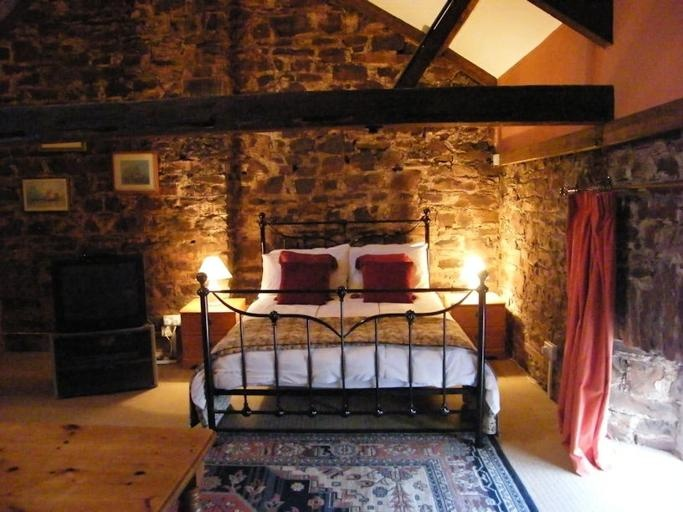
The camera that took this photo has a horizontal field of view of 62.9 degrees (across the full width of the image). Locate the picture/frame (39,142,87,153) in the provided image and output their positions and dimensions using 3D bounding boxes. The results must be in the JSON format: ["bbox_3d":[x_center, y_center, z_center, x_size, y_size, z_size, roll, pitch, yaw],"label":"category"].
[{"bbox_3d":[-2.735,-1.083,5.537,0.349,0.062,0.199,1,4,1],"label":"picture/frame"}]

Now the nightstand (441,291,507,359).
[{"bbox_3d":[1.345,0.698,5.785,0.682,0.590,0.669,0,2,-4],"label":"nightstand"}]

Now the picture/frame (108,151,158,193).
[{"bbox_3d":[-2.124,-0.880,5.719,0.463,0.358,0.034,-1,7,2],"label":"picture/frame"}]

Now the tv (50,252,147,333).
[{"bbox_3d":[-2.162,0.369,5.310,0.877,0.695,0.498,-5,-5,7],"label":"tv"}]

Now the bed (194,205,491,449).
[{"bbox_3d":[0.041,0.382,5.367,2.569,1.281,2.951,2,17,11],"label":"bed"}]

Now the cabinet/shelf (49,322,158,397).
[{"bbox_3d":[-2.231,0.994,5.226,0.894,0.545,0.491,-2,-4,-28],"label":"cabinet/shelf"}]

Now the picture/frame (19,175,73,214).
[{"bbox_3d":[-3.036,-0.636,5.761,0.544,0.344,0.024,0,2,10],"label":"picture/frame"}]

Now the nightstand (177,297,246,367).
[{"bbox_3d":[-1.223,0.749,5.545,0.672,0.590,0.670,-1,3,-2],"label":"nightstand"}]
